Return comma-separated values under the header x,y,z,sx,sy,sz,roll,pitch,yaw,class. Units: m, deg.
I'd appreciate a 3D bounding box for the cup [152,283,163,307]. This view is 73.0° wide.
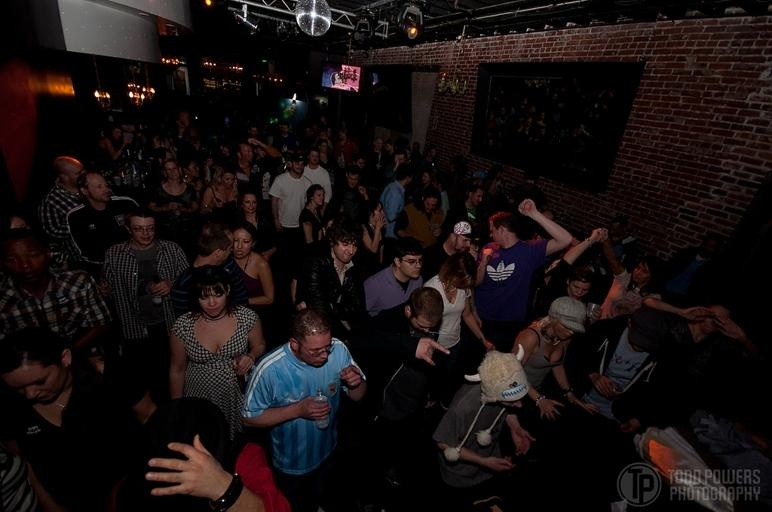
x,y,z,sx,sy,sz,roll,pitch,yaw,class
-2.875,0.512,6.531,0.130,0.219,0.081,2,25,-10,cup

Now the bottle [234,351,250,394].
x,y,z,sx,sy,sz,roll,pitch,yaw,class
-1.701,1.390,6.124,0.155,0.496,0.348,-7,13,-16,bottle

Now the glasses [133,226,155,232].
x,y,z,sx,sy,sz,roll,pitch,yaw,class
-3.001,-0.339,6.455,0.229,0.060,0.067,-11,31,-34,glasses

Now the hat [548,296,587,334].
x,y,z,sx,sy,sz,roll,pitch,yaw,class
2.159,0.726,6.183,0.448,0.436,0.328,17,27,19,hat

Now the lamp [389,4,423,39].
x,y,z,sx,sy,sz,roll,pitch,yaw,class
0.438,-4.410,9.798,0.525,0.628,0.361,8,25,2,lamp

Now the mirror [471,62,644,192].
x,y,z,sx,sy,sz,roll,pitch,yaw,class
3.412,-2.487,10.051,0.130,1.861,2.684,-15,39,-30,mirror

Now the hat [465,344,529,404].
x,y,z,sx,sy,sz,roll,pitch,yaw,class
1.236,1.279,5.518,0.591,0.381,0.584,-34,26,-8,hat

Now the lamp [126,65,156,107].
x,y,z,sx,sy,sz,roll,pitch,yaw,class
-7.465,-5.250,15.821,0.753,1.000,2.758,-5,28,-24,lamp

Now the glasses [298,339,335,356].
x,y,z,sx,sy,sz,roll,pitch,yaw,class
-0.746,0.945,5.468,0.326,0.199,0.090,3,25,-10,glasses

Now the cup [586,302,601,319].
x,y,z,sx,sy,sz,roll,pitch,yaw,class
2.707,0.723,6.874,0.174,0.183,0.212,3,-1,-43,cup

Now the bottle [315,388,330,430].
x,y,z,sx,sy,sz,roll,pitch,yaw,class
-0.675,1.649,5.592,0.156,0.538,0.346,4,25,-6,bottle

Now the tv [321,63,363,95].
x,y,z,sx,sy,sz,roll,pitch,yaw,class
-1.388,-5.543,16.138,1.453,0.823,0.369,27,31,35,tv
